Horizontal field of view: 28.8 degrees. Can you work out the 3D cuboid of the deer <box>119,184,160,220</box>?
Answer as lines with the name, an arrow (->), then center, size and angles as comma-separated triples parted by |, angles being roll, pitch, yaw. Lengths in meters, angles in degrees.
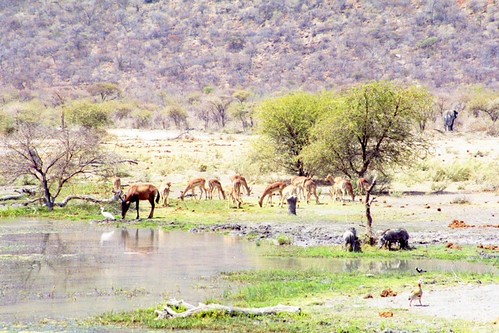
deer -> -15.659, 3.958, 126.747 | 7.619, 5.443, 2.499 | -1, 0, -8

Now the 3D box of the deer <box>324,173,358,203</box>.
deer -> 12.331, 2.954, 130.921 | 3.489, 3.613, 4.398 | -1, -3, -2

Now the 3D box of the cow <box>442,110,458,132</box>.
cow -> 34.002, -7.383, 164.857 | 1.527, 3.571, 2.713 | 0, -3, -27
